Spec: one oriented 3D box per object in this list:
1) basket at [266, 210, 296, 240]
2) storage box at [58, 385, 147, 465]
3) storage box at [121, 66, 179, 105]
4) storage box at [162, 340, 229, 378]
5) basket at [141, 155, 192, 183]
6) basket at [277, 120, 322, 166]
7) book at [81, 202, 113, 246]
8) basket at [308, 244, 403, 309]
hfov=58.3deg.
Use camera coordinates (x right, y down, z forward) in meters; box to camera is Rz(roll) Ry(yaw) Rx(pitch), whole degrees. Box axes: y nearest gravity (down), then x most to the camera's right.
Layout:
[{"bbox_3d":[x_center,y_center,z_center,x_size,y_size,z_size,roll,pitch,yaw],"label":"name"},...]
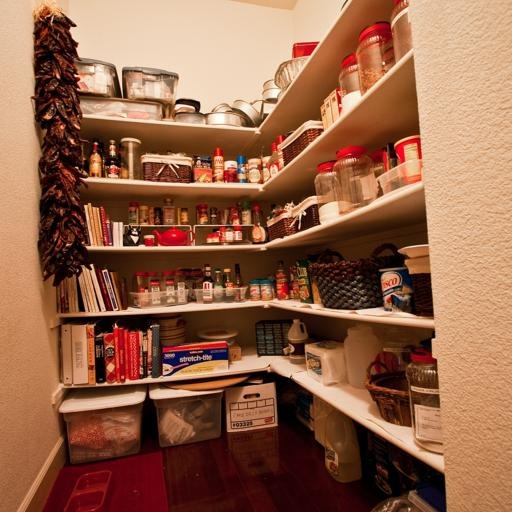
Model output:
[{"bbox_3d":[0.121,-0.150,2.265,0.116,0.058,0.144,-1,-7,-11],"label":"basket"},{"bbox_3d":[-0.726,0.750,2.149,0.450,0.253,0.437,4,-2,-3],"label":"storage box"},{"bbox_3d":[-0.508,-0.807,2.237,0.245,0.111,0.187,1,-1,-35],"label":"storage box"},{"bbox_3d":[-0.262,0.507,2.222,0.365,0.133,0.094,-9,-15,20],"label":"storage box"},{"bbox_3d":[-0.434,-0.423,2.248,0.277,0.115,0.154,0,-4,-24],"label":"basket"},{"bbox_3d":[0.203,-0.499,2.007,0.161,0.068,0.215,-11,-9,-33],"label":"basket"},{"bbox_3d":[-0.738,-0.140,2.109,0.144,0.204,0.239,-10,9,-19],"label":"book"},{"bbox_3d":[0.397,0.085,1.823,0.361,0.210,0.347,-2,-2,18],"label":"basket"}]
